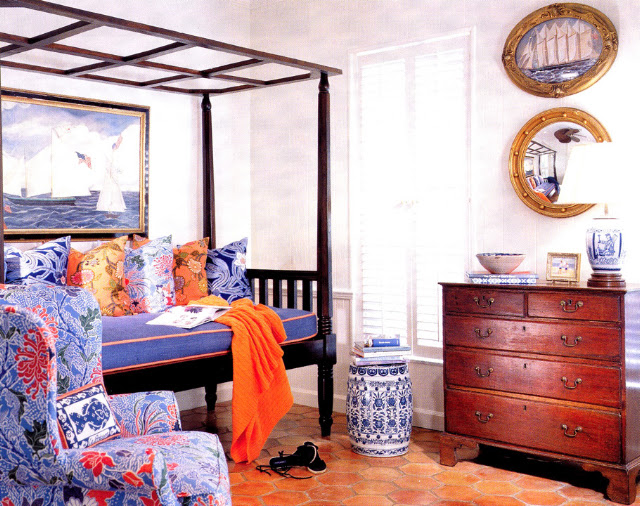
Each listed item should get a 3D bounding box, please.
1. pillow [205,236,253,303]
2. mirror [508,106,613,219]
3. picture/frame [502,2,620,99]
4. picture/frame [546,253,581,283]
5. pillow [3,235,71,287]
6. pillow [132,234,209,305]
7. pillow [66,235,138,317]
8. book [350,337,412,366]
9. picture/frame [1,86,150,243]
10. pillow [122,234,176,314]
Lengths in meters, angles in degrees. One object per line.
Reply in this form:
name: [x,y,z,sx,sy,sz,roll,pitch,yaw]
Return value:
pillow: [-0.670,0.130,4.065,0.406,0.417,0.167,-17,0,-36]
mirror: [1.463,-0.547,3.353,0.775,0.802,0.093,2,1,41]
picture/frame: [1.504,-1.241,3.423,0.700,0.592,0.085,-4,-7,35]
picture/frame: [1.409,0.084,3.230,0.175,0.168,0.023,1,-6,43]
pillow: [-1.624,0.054,3.221,0.310,0.265,0.123,0,-13,-45]
pillow: [-0.997,0.127,3.732,0.406,0.431,0.171,-12,-13,-2]
pillow: [-1.268,0.145,3.293,0.429,0.434,0.187,-12,-17,1]
book: [0.397,0.636,3.682,0.371,0.168,0.186,0,4,-8]
picture/frame: [-1.680,-0.596,3.763,0.047,0.787,1.208,3,3,37]
pillow: [-1.101,0.150,3.594,0.438,0.516,0.280,-8,-3,-32]
